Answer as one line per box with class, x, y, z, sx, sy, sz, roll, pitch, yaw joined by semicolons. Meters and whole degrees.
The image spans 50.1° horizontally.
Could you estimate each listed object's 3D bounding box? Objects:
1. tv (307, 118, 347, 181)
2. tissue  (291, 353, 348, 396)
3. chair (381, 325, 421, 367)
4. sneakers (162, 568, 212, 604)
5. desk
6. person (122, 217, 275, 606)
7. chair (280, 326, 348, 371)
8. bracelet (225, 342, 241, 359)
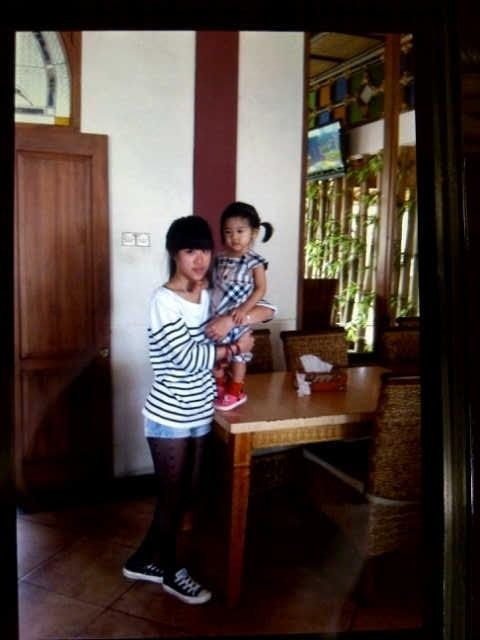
tv;0.788;-1.578;4.815;0.149;0.493;0.488;-2;5;-31
tissue ;0.336;0.196;2.119;0.154;0.114;0.169;1;10;-1
chair;0.872;0.144;2.803;0.187;0.223;0.207;0;-4;11
sneakers;-0.198;0.960;1.919;0.210;0.095;0.079;-1;-3;41
desk;0.210;0.638;1.959;0.535;0.483;0.595;4;-13;-18
person;-0.204;0.341;1.862;0.335;1.390;0.449;-2;5;-28
chair;0.386;0.195;2.831;0.243;0.388;0.245;0;-9;-10
bracelet;-0.033;0.107;1.818;0.036;0.058;0.022;-6;-4;0
